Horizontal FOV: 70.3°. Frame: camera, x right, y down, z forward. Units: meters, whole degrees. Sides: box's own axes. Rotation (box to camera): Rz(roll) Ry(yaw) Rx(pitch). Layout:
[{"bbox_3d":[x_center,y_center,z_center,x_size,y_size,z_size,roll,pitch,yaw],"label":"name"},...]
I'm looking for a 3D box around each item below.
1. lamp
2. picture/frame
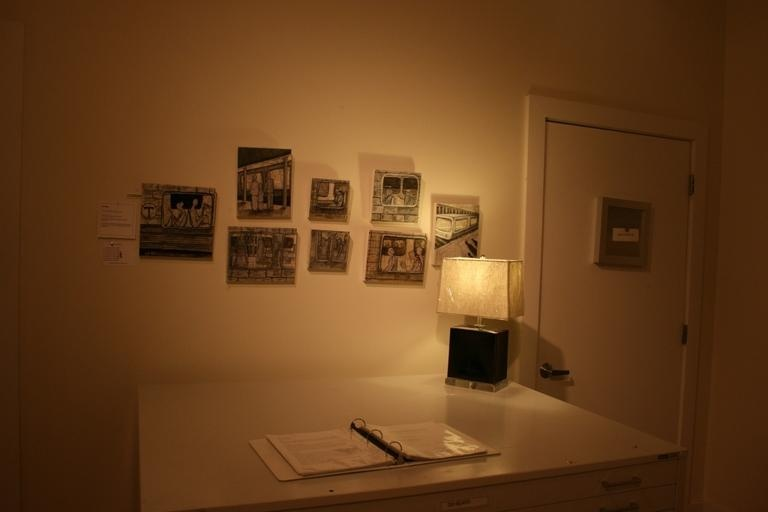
[{"bbox_3d":[0.287,0.261,2.231,0.368,0.474,0.384,5,-3,-18],"label":"lamp"},{"bbox_3d":[1.099,-0.114,2.542,0.321,0.379,0.073,2,0,-21],"label":"picture/frame"}]
